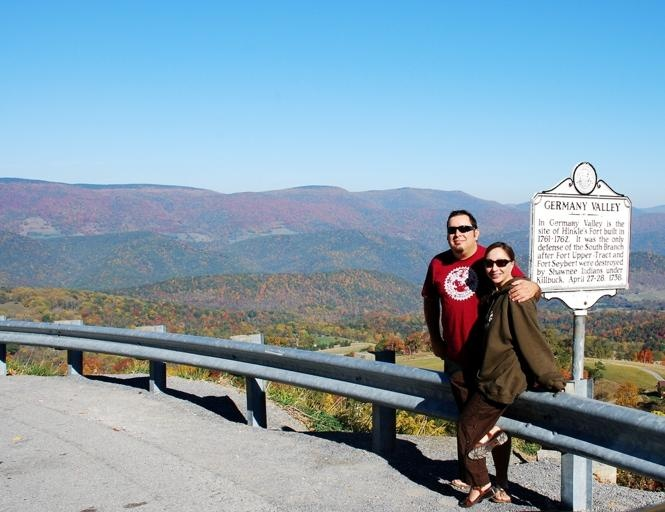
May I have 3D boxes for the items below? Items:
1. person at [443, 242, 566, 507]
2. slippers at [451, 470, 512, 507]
[{"bbox_3d":[1.247,0.832,4.149,0.667,1.451,0.389,8,-3,24],"label":"person"},{"bbox_3d":[1.054,1.611,4.187,0.347,0.112,0.191,-1,-2,-7],"label":"slippers"}]
